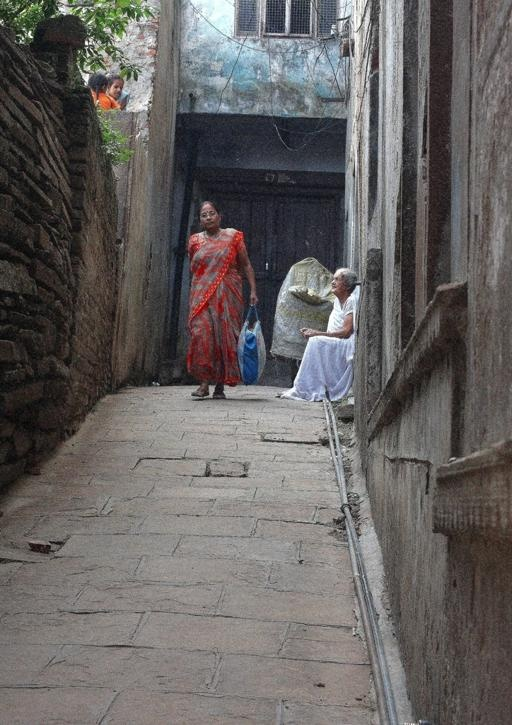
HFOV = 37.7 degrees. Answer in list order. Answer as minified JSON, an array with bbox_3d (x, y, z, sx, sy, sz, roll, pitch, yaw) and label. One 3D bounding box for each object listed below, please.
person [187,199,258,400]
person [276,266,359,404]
[{"bbox_3d":[-0.319,-0.552,6.625,0.639,1.712,0.573,-1,7,-20],"label":"person"},{"bbox_3d":[0.734,-0.281,7.175,0.791,1.238,0.586,-3,8,-34],"label":"person"}]
